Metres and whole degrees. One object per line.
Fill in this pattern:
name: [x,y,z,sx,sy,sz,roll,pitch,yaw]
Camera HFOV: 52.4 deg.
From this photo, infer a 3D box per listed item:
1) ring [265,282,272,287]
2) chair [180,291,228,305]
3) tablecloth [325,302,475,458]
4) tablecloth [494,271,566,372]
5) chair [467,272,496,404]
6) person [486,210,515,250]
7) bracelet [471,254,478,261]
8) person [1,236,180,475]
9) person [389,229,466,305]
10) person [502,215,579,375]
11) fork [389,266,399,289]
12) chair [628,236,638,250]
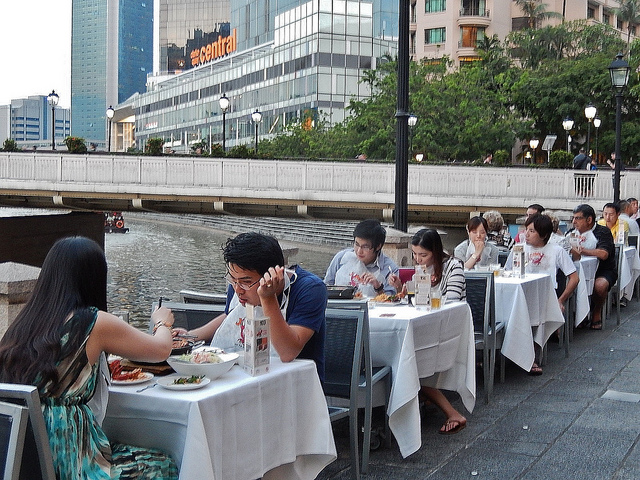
ring: [-0.304,0.266,3.809,0.040,0.026,0.010,-1,9,-9]
chair: [-1.040,0.513,5.741,0.271,0.135,0.226,0,4,-22]
tablecloth: [0.808,0.900,5.452,1.049,0.742,1.084,2,11,35]
tablecloth: [2.342,0.908,7.531,0.895,0.805,1.109,-10,-3,-17]
chair: [1.652,0.966,6.701,0.311,1.227,0.680,2,9,15]
person: [2.887,-0.123,10.576,0.411,0.401,1.119,6,-17,17]
bracelet: [1.989,0.227,8.402,0.052,0.086,0.029,-4,1,-8]
person: [-1.182,0.600,3.325,0.816,1.189,0.543,-4,10,-24]
person: [1.043,0.219,6.240,0.605,1.073,0.633,0,-3,-35]
person: [2.798,0.540,8.348,0.825,1.641,1.361,6,11,32]
fork: [0.716,0.391,6.323,0.075,0.146,0.050,-32,11,-40]
chair: [5.935,0.056,12.342,0.168,0.407,0.192,1,-8,23]
